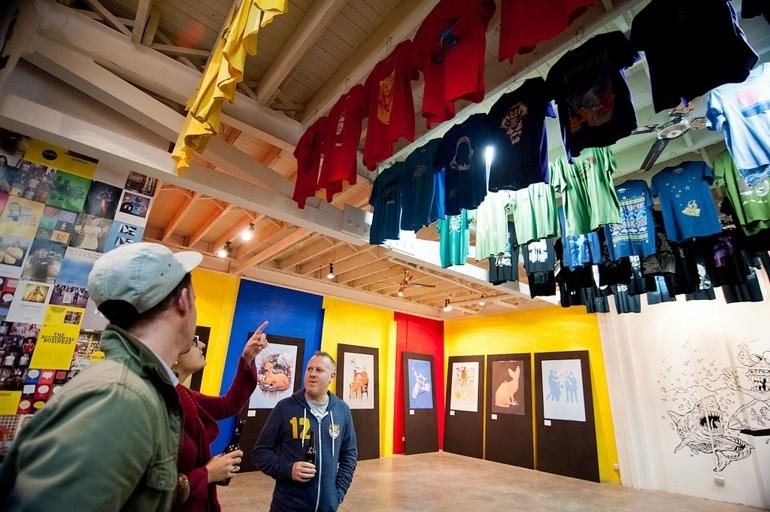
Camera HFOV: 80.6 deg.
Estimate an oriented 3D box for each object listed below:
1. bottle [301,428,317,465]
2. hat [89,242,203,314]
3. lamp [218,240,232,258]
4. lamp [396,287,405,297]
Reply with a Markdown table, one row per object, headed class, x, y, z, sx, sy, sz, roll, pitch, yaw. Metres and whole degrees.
| class | x | y | z | sx | sy | sz | roll | pitch | yaw |
| --- | --- | --- | --- | --- | --- | --- | --- | --- | --- |
| bottle | -0.674 | 1.706 | 4.108 | 0.092 | 0.282 | 0.094 | 1 | -12 | 0 |
| hat | -1.500 | 0.162 | 2.985 | 0.445 | 0.623 | 0.308 | 19 | -46 | 28 |
| lamp | -3.024 | -0.151 | 8.601 | 0.211 | 0.308 | 0.512 | 3 | 5 | -4 |
| lamp | 0.359 | 0.817 | 10.500 | 0.204 | 0.244 | 0.390 | 14 | -5 | 4 |
